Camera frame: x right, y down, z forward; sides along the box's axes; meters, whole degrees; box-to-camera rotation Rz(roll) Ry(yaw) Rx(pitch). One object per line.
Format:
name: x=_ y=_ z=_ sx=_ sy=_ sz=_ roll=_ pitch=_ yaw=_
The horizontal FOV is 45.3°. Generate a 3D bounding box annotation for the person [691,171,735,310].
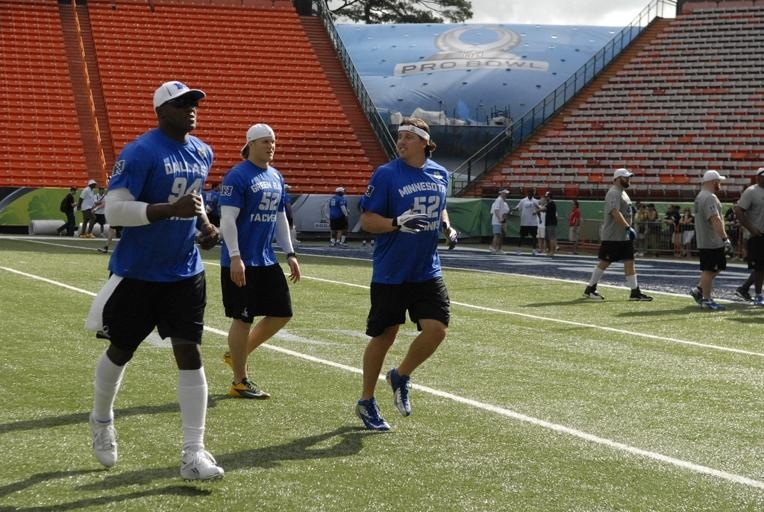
person: x=5.657 y=-0.284 z=15.706 sx=0.615 sy=2.291 sz=0.917 roll=5 pitch=10 yaw=18

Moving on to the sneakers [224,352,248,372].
sneakers: x=-1.595 y=1.134 z=9.869 sx=0.158 sy=0.177 sz=0.474 roll=0 pitch=5 yaw=-18

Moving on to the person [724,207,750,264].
person: x=8.019 y=-0.442 z=20.586 sx=0.531 sy=0.806 sz=1.575 roll=-5 pitch=3 yaw=13

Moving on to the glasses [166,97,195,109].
glasses: x=-1.765 y=-1.353 z=8.050 sx=0.123 sy=0.054 sz=0.181 roll=-9 pitch=-5 yaw=-38

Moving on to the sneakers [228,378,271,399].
sneakers: x=-1.422 y=1.386 z=9.571 sx=0.504 sy=0.195 sz=0.172 roll=4 pitch=-1 yaw=-1

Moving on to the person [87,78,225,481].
person: x=-2.004 y=0.180 z=8.007 sx=1.174 sy=3.382 sz=1.094 roll=2 pitch=10 yaw=-2

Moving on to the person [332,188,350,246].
person: x=-1.411 y=-1.227 z=29.085 sx=0.494 sy=1.831 sz=1.562 roll=1 pitch=9 yaw=-4

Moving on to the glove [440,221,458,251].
glove: x=0.693 y=-0.225 z=9.555 sx=0.127 sy=0.152 sz=0.342 roll=3 pitch=-32 yaw=4

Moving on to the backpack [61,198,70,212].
backpack: x=-10.159 y=-1.631 z=29.269 sx=0.397 sy=0.451 sz=0.190 roll=8 pitch=11 yaw=31

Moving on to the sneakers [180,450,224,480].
sneakers: x=-1.510 y=1.791 z=7.812 sx=0.415 sy=0.196 sz=0.195 roll=-1 pitch=-4 yaw=15

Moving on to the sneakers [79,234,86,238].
sneakers: x=-9.704 y=-0.644 z=29.462 sx=0.269 sy=0.099 sz=0.101 roll=-8 pitch=-4 yaw=41

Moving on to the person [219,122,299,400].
person: x=-1.377 y=0.024 z=9.789 sx=0.768 sy=2.812 sz=0.994 roll=4 pitch=10 yaw=12

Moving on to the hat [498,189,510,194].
hat: x=3.876 y=-2.033 z=28.788 sx=0.381 sy=0.101 sz=0.370 roll=-3 pitch=1 yaw=-41

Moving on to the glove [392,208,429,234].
glove: x=0.278 y=-0.321 z=8.756 sx=0.280 sy=0.195 sz=0.221 roll=-2 pitch=10 yaw=-22

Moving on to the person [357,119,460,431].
person: x=0.237 y=0.132 z=9.210 sx=0.947 sy=2.995 sz=1.238 roll=3 pitch=10 yaw=4

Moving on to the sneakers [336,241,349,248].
sneakers: x=-1.313 y=-0.349 z=29.418 sx=0.496 sy=0.197 sz=0.157 roll=0 pitch=3 yaw=1

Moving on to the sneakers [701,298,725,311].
sneakers: x=5.607 y=0.830 z=15.490 sx=0.402 sy=0.152 sz=0.144 roll=3 pitch=5 yaw=-25

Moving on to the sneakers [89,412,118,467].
sneakers: x=-2.478 y=1.631 z=8.094 sx=0.194 sy=0.495 sz=0.212 roll=-8 pitch=-32 yaw=-39

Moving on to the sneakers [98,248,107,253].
sneakers: x=-7.086 y=-0.143 z=23.023 sx=0.264 sy=0.164 sz=0.092 roll=11 pitch=9 yaw=35

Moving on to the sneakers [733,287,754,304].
sneakers: x=6.605 y=0.713 z=16.590 sx=0.464 sy=0.193 sz=0.156 roll=17 pitch=4 yaw=-26

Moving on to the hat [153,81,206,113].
hat: x=-1.852 y=-1.437 z=8.107 sx=0.482 sy=0.215 sz=0.317 roll=-3 pitch=6 yaw=25
